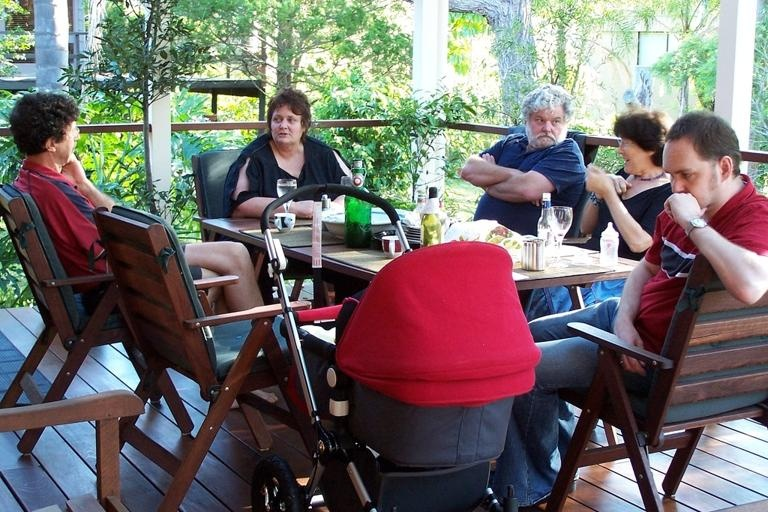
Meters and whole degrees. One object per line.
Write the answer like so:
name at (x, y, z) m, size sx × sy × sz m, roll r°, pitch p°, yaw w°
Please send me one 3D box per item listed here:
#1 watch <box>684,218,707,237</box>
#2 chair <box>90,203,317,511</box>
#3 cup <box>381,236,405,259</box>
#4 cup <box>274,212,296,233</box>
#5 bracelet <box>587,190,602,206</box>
watch at (1.058, -0.096, 1.972) m, size 0.051 × 0.049 × 0.032 m, roll -24°, pitch 50°, yaw -8°
chair at (-0.737, 0.289, 3.011) m, size 1.202 × 1.516 × 1.072 m, roll -6°, pitch 12°, yaw -31°
cup at (0.033, -0.042, 2.779) m, size 0.120 × 0.078 × 0.100 m, roll -6°, pitch 9°, yaw -14°
cup at (-0.553, -0.185, 3.224) m, size 0.111 × 0.083 × 0.105 m, roll -2°, pitch 11°, yaw 0°
bracelet at (1.229, -0.340, 3.418) m, size 0.083 × 0.057 × 0.081 m, roll 4°, pitch -2°, yaw -23°
